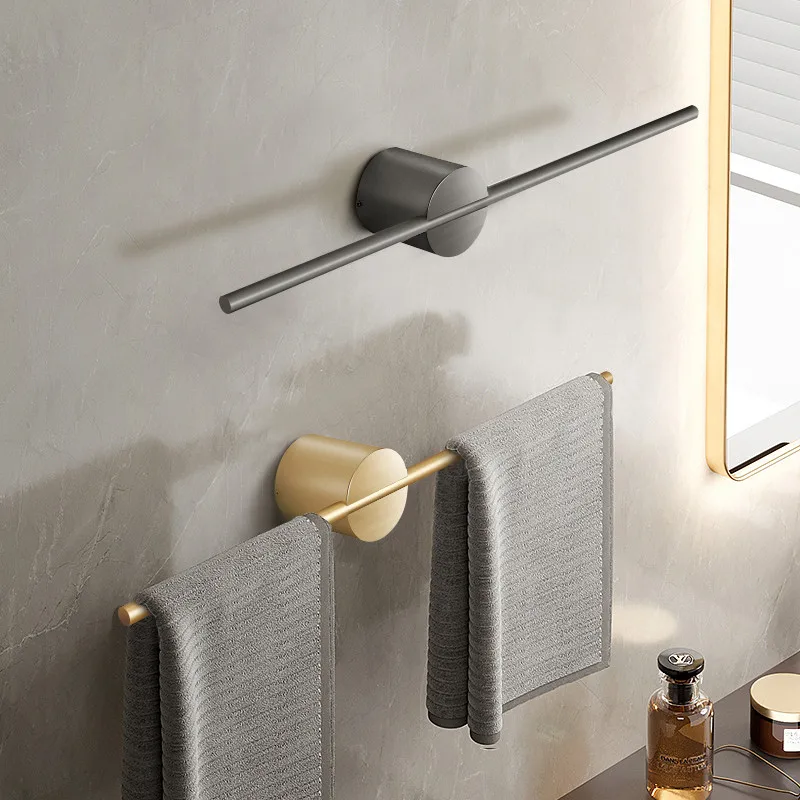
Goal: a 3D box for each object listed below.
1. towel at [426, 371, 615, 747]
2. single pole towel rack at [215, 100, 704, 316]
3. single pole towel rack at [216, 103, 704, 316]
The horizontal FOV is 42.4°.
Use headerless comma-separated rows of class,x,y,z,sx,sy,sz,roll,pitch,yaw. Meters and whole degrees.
towel,0.107,0.131,0.952,0.088,0.377,0.290,14,25,36
single pole towel rack,0.042,-0.170,0.896,0.704,0.029,0.029,-23,23,-32
single pole towel rack,0.042,-0.169,0.896,0.692,0.027,0.028,-24,22,-32
